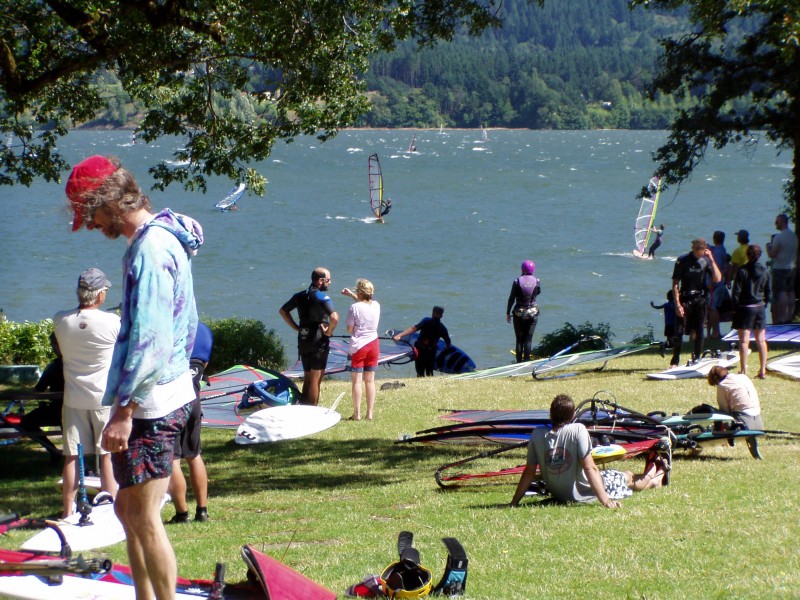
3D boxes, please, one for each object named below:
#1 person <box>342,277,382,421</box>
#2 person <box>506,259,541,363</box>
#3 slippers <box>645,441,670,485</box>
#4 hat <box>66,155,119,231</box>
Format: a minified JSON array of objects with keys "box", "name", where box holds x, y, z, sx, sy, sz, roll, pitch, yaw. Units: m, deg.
[{"box":[-0.792,0.953,35.215,0.785,2.727,0.675,-1,8,-16],"name":"person"},{"box":[2.791,0.206,39.430,0.684,2.131,0.945,0,1,0],"name":"person"},{"box":[4.655,2.901,31.533,0.312,0.413,0.963,-1,24,13],"name":"slippers"},{"box":[-5.067,-1.934,28.391,0.598,1.166,0.808,36,17,-15],"name":"hat"}]
